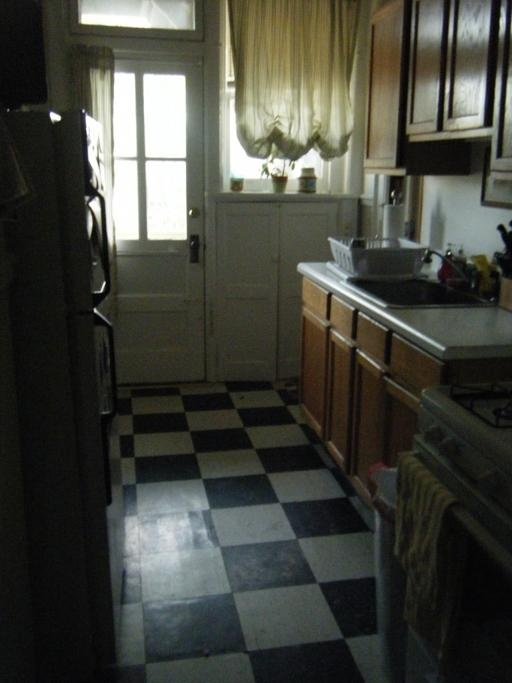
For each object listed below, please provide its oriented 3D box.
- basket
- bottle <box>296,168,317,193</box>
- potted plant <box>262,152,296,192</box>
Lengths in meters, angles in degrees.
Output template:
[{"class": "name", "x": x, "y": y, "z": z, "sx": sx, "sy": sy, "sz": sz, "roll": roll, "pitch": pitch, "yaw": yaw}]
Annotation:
[{"class": "basket", "x": 0.554, "y": -0.391, "z": 2.507, "sx": 0.421, "sy": 0.161, "sz": 0.555, "roll": 2, "pitch": 12, "yaw": 9}, {"class": "bottle", "x": 0.342, "y": -1.081, "z": 3.670, "sx": 0.113, "sy": 0.180, "sz": 0.132, "roll": 3, "pitch": 11, "yaw": 21}, {"class": "potted plant", "x": 0.146, "y": -1.165, "z": 3.710, "sx": 0.204, "sy": 0.375, "sz": 0.219, "roll": 4, "pitch": 14, "yaw": 12}]
